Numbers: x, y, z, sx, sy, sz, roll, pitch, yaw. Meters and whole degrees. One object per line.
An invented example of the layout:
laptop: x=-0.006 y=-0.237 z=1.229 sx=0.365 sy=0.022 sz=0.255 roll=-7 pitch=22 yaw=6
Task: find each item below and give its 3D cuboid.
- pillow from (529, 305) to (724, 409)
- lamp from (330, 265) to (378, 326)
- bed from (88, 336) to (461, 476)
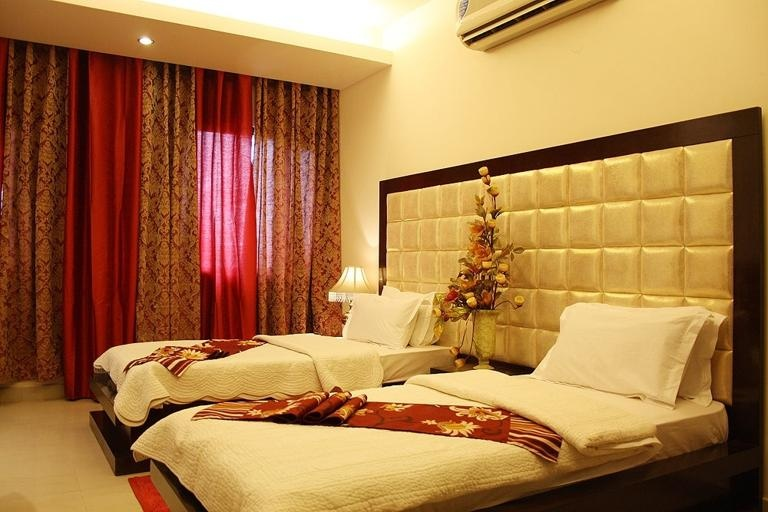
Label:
pillow: x=1.467 y=0.577 z=3.264 sx=0.685 sy=0.685 sz=0.195 roll=3 pitch=-30 yaw=39
lamp: x=-0.362 y=0.406 z=5.756 sx=0.596 sy=0.722 sz=0.609 roll=3 pitch=-2 yaw=-36
bed: x=-1.032 y=0.908 z=3.922 sx=1.521 sy=0.349 sz=1.416 roll=0 pitch=0 yaw=-29
